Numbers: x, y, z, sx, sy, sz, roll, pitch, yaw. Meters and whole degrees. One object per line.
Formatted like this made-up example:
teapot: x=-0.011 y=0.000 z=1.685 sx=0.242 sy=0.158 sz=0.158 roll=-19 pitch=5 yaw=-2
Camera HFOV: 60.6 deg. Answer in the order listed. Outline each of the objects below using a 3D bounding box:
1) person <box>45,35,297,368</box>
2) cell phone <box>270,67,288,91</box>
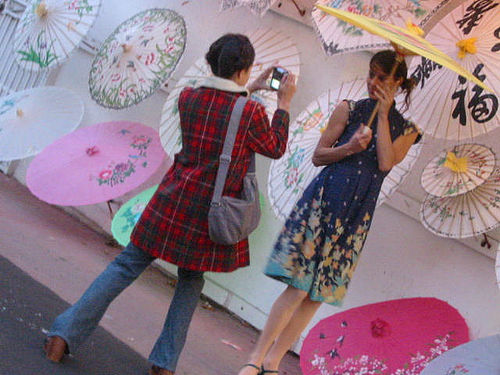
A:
person: x=-0.313 y=0.117 z=2.342 sx=0.799 sy=1.919 sz=0.448 roll=27 pitch=3 yaw=-15
cell phone: x=0.169 y=-0.667 z=2.607 sx=0.100 sy=0.148 sz=0.041 roll=14 pitch=5 yaw=21
